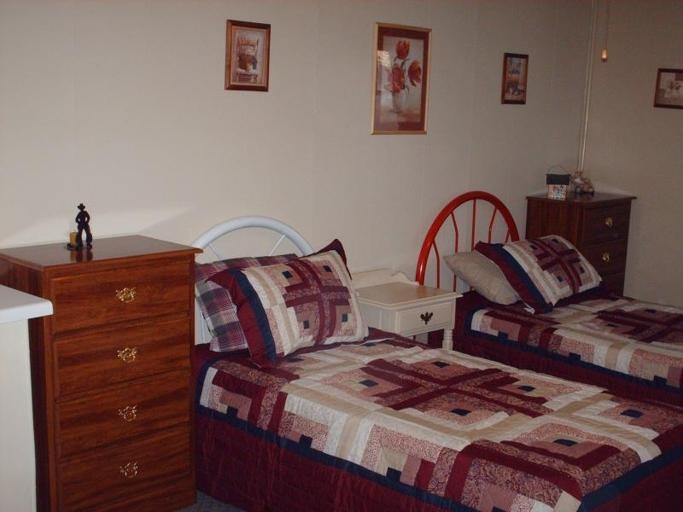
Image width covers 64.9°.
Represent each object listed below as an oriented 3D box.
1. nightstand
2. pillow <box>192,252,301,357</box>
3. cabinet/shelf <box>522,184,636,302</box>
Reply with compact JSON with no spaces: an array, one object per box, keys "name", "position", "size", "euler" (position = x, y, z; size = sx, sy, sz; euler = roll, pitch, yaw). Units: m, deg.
[{"name":"nightstand","position":[0.367,0.258,3.329],"size":[0.623,0.661,0.477],"euler":[-10,16,-41]},{"name":"pillow","position":[-0.555,0.226,2.649],"size":[0.424,0.418,0.126],"euler":[-2,-2,21]},{"name":"cabinet/shelf","position":[1.888,-0.082,4.508],"size":[0.889,1.237,0.776],"euler":[-12,17,-39]}]
